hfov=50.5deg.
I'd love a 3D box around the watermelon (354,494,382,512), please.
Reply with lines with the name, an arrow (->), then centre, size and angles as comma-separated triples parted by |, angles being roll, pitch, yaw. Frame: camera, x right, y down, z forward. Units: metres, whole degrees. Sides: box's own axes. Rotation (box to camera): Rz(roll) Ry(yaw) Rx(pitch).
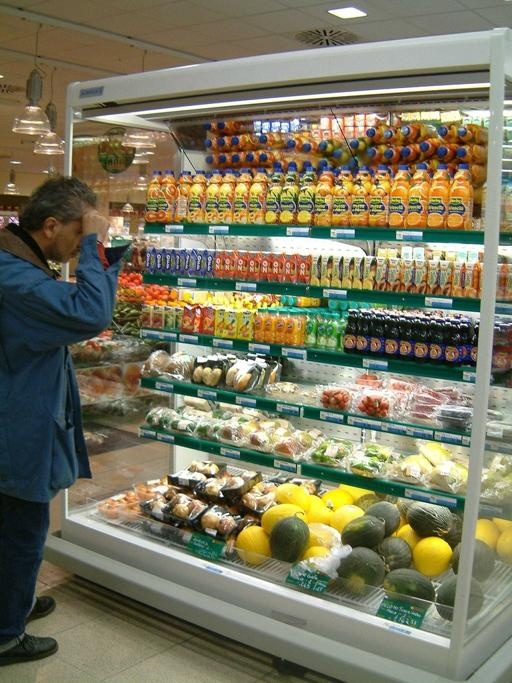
watermelon -> 0.567, 0.808, 2.743 | 0.092, 0.049, 0.090 | -7, -9, -37

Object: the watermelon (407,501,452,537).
watermelon -> 0.727, 0.776, 2.418 | 0.222, 0.155, 0.154 | 7, -37, -6

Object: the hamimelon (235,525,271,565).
hamimelon -> -0.024, 0.931, 2.502 | 0.137, 0.152, 0.139 | 15, -34, -32

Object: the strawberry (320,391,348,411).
strawberry -> 0.353, 0.256, 2.367 | 0.095, 0.048, 0.098 | 5, -2, -13

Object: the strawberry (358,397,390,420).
strawberry -> 0.492, 0.273, 2.249 | 0.103, 0.077, 0.046 | 2, 6, 36

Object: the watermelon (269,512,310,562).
watermelon -> 0.143, 0.912, 2.464 | 0.228, 0.216, 0.291 | 11, -22, -17

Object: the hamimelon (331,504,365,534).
hamimelon -> 0.431, 0.818, 2.547 | 0.116, 0.118, 0.110 | 10, 7, 19

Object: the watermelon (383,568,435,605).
watermelon -> 0.597, 0.944, 2.108 | 0.193, 0.108, 0.102 | 3, 0, 17

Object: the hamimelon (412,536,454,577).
hamimelon -> 0.723, 0.882, 2.315 | 0.177, 0.183, 0.160 | 2, 2, 7

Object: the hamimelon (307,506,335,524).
hamimelon -> 0.314, 0.835, 2.633 | 0.092, 0.081, 0.089 | 8, -13, -21

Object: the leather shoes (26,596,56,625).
leather shoes -> -1.010, 1.250, 2.551 | 0.057, 0.057, 0.149 | 7, 13, 24

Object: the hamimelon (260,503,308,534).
hamimelon -> 0.135, 0.842, 2.547 | 0.180, 0.125, 0.123 | -16, -43, 0

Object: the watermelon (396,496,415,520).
watermelon -> 0.711, 0.792, 2.602 | 0.075, 0.103, 0.133 | 14, 3, 39

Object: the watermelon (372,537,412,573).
watermelon -> 0.594, 0.894, 2.320 | 0.127, 0.128, 0.126 | -48, 6, -35

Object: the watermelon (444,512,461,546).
watermelon -> 0.839, 0.816, 2.366 | 0.080, 0.127, 0.107 | -1, -20, 16

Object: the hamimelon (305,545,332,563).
hamimelon -> 0.259, 0.916, 2.307 | 0.107, 0.058, 0.159 | 3, 0, 7
